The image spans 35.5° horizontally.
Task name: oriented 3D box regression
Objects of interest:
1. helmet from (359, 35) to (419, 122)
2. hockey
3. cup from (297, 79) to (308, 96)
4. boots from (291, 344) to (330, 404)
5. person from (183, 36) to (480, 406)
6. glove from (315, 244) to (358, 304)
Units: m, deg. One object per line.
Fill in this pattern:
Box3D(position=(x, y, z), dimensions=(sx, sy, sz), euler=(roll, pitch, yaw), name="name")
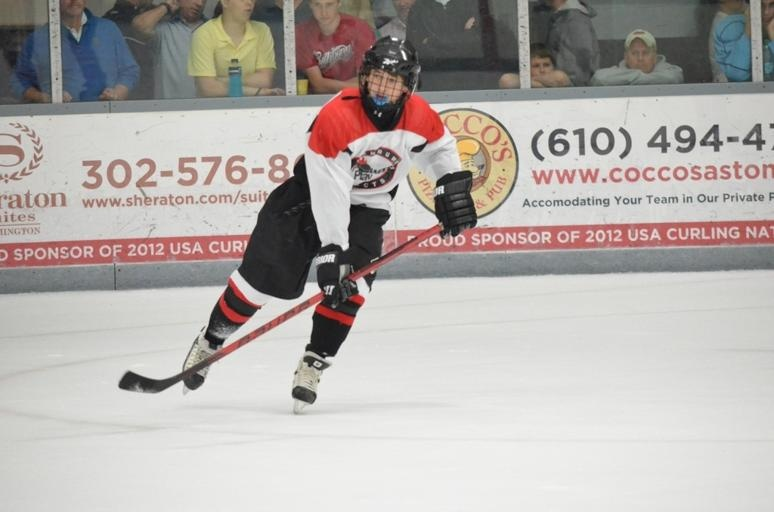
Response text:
Box3D(position=(0.013, -0.971, 6.825), dimensions=(0.335, 0.518, 0.198), euler=(-3, 12, -3), name="helmet")
Box3D(position=(-0.689, 0.360, 7.595), dimensions=(2.072, 0.208, 0.273), euler=(-25, -35, 25), name="hockey")
Box3D(position=(-0.653, -1.300, 9.308), dimensions=(0.127, 0.116, 0.116), euler=(1, 9, 0), name="cup")
Box3D(position=(-0.374, 0.693, 6.807), dimensions=(0.143, 0.258, 0.362), euler=(34, 24, -19), name="boots")
Box3D(position=(-0.317, -0.217, 6.906), dimensions=(1.533, 2.015, 0.584), euler=(-7, 13, -23), name="person")
Box3D(position=(-0.293, 0.106, 6.732), dimensions=(0.137, 0.311, 0.251), euler=(-2, 15, 25), name="glove")
